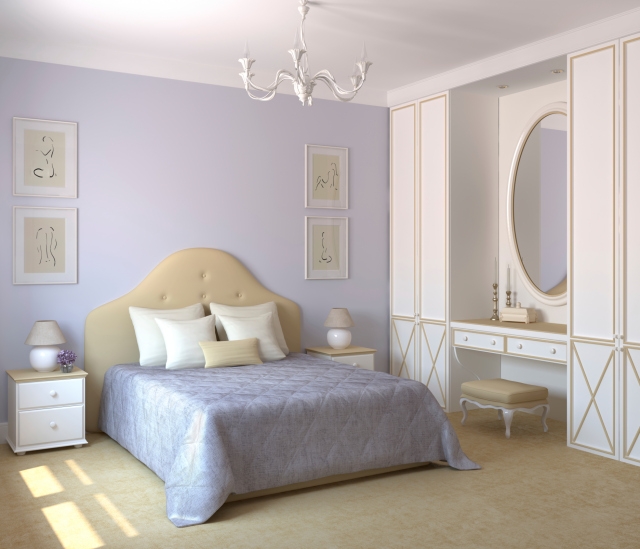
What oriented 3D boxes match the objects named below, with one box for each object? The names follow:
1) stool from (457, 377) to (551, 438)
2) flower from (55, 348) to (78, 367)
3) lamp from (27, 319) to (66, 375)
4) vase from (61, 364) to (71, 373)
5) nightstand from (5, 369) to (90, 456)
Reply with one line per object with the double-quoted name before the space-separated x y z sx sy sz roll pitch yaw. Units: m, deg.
"stool" 1.633 1.138 4.453 0.694 0.418 0.632 1 -1 -32
"flower" -1.978 0.652 4.014 0.141 0.166 0.155 -4 -7 25
"lamp" -2.113 0.548 3.918 0.318 0.425 0.324 0 0 -32
"vase" -1.968 0.731 3.955 0.060 0.050 0.063 2 -4 -10
"nightstand" -2.109 1.052 4.047 0.671 0.754 0.509 1 -3 -33
